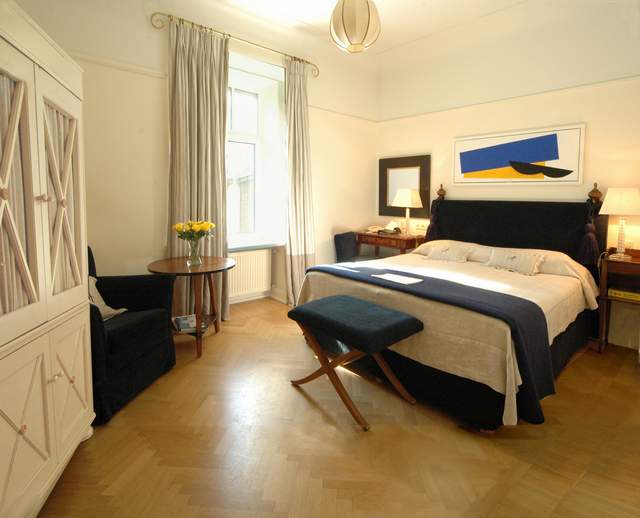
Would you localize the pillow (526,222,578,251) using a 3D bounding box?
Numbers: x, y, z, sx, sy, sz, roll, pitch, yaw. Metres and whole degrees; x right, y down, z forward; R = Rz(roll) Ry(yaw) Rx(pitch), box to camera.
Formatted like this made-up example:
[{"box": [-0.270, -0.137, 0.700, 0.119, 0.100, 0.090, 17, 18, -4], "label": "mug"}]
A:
[{"box": [2.375, -0.227, 4.959, 0.065, 0.262, 0.263, 10, -4, -35], "label": "pillow"}]

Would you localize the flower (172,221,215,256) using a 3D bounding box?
[{"box": [-1.206, -0.229, 4.659, 0.352, 0.399, 0.374, 1, 7, 0], "label": "flower"}]

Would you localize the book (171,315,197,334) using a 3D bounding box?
[{"box": [-1.242, 0.610, 4.528, 0.178, 0.049, 0.190, -3, 11, -35], "label": "book"}]

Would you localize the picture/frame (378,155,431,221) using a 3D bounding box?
[{"box": [1.137, -0.950, 6.445, 0.033, 0.897, 0.822, -3, 7, -34], "label": "picture/frame"}]

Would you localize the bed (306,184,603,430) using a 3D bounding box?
[{"box": [1.526, 0.371, 4.248, 1.992, 1.426, 2.080, -4, 5, -38], "label": "bed"}]

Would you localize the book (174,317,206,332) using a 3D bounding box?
[{"box": [-1.252, 0.605, 4.537, 0.163, 0.042, 0.164, -5, 11, -43], "label": "book"}]

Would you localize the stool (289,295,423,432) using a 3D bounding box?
[{"box": [0.267, 0.740, 3.796, 0.746, 0.791, 0.942, -7, 7, -39], "label": "stool"}]

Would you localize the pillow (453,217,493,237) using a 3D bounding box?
[{"box": [1.761, -0.359, 5.624, 0.031, 0.177, 0.461, -5, 3, -17], "label": "pillow"}]
